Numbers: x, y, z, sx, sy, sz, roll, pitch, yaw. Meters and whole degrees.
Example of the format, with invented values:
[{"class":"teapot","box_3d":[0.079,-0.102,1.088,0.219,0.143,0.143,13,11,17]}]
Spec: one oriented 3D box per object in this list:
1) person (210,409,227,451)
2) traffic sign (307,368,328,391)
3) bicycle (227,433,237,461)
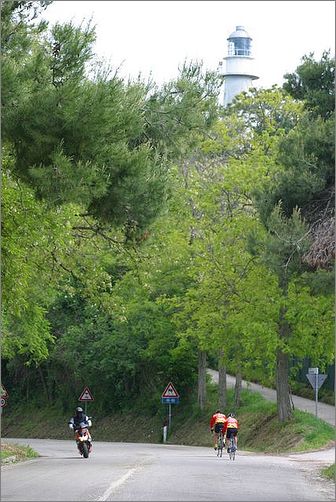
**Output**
[{"class":"person","box_3d":[1.280,4.466,27.724,0.451,0.695,1.026,0,6,0]},{"class":"traffic sign","box_3d":[4.794,4.100,34.525,0.549,0.763,0.969,0,-10,10]},{"class":"bicycle","box_3d":[1.475,4.530,25.001,0.227,0.340,0.505,0,9,-3]}]
